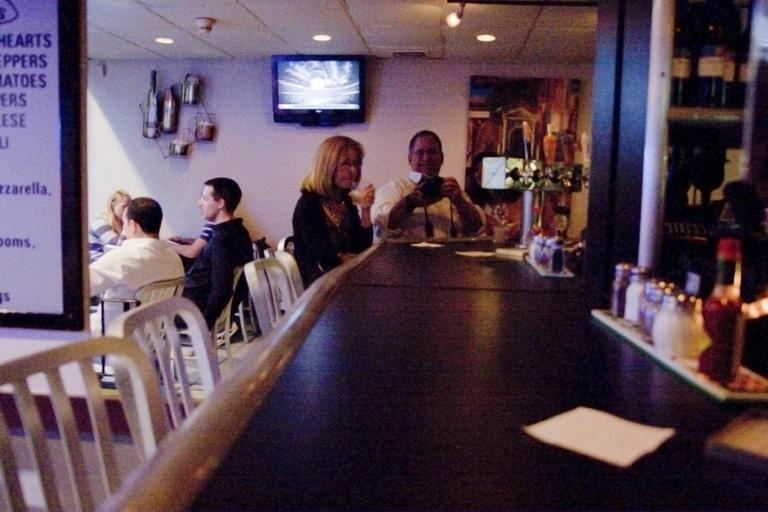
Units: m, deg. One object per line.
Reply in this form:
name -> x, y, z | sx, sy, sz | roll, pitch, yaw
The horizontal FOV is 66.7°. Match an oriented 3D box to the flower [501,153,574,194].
flower -> 0.793, -0.410, 2.931 | 0.138, 0.164, 0.358 | -9, 11, -42

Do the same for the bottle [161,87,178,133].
bottle -> -2.130, -1.437, 5.805 | 0.208, 0.445, 0.074 | 0, 9, 10

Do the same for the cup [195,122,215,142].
cup -> -1.751, -1.202, 5.756 | 0.194, 0.188, 0.181 | 7, 8, -1

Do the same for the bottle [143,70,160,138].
bottle -> -2.328, -1.497, 5.819 | 0.212, 0.660, 0.071 | 1, 10, 14

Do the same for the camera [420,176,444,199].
camera -> 0.349, -0.514, 4.399 | 0.177, 0.161, 0.055 | 1, 15, -6

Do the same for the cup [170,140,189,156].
cup -> -2.024, -1.062, 5.831 | 0.175, 0.122, 0.163 | 3, 31, -2

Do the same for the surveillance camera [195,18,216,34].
surveillance camera -> -1.356, -1.758, 4.478 | 0.115, 0.058, 0.110 | -3, -4, 9

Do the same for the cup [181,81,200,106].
cup -> -1.893, -1.606, 5.720 | 0.176, 0.266, 0.094 | 2, 10, 24
